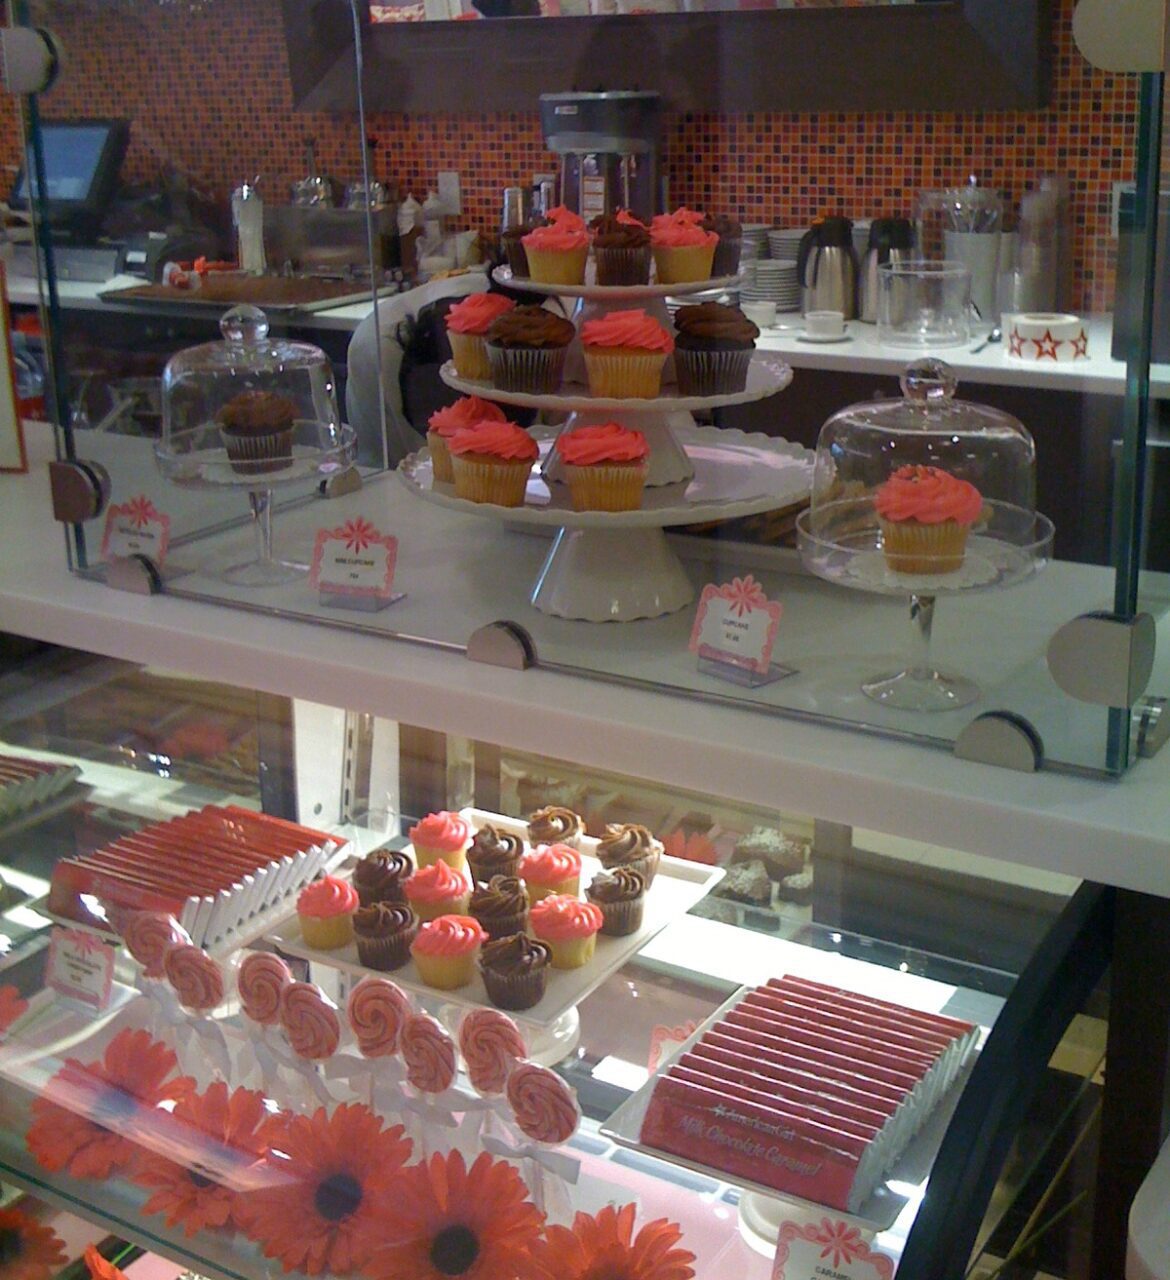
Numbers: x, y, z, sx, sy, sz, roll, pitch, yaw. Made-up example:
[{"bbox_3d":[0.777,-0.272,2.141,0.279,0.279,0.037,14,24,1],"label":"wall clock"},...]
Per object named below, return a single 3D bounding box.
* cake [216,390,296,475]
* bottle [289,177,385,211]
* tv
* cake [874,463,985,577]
[{"bbox_3d":[-0.360,-0.230,1.161,0.093,0.082,0.086,0,32,-2],"label":"cake"},{"bbox_3d":[-0.261,-0.472,1.132,0.069,0.022,0.042,-7,20,-25],"label":"bottle"},{"bbox_3d":[-0.561,-0.499,1.165,0.137,0.114,0.036,13,12,16],"label":"tv"},{"bbox_3d":[0.243,-0.090,0.766,0.079,0.078,0.083,-1,20,-2],"label":"cake"}]
